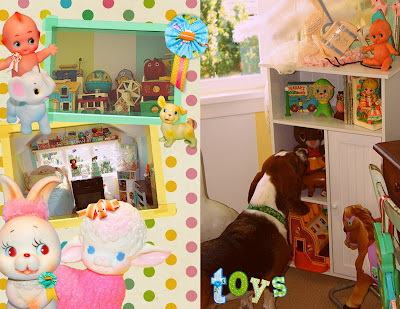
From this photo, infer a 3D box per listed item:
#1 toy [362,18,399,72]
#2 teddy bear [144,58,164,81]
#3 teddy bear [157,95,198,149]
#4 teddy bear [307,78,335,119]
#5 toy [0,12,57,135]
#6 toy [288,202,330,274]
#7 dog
[{"bbox_3d":[1.070,-0.665,1.838,0.185,0.269,0.168,2,7,36],"label":"toy"},{"bbox_3d":[-0.189,-0.358,1.290,0.097,0.100,0.094,-5,18,-12],"label":"teddy bear"},{"bbox_3d":[-0.112,-0.126,1.279,0.212,0.266,0.134,2,14,-9],"label":"teddy bear"},{"bbox_3d":[0.918,-0.427,2.295,0.173,0.284,0.162,2,24,27],"label":"teddy bear"},{"bbox_3d":[-0.666,-0.304,1.165,0.221,0.458,0.124,-2,6,-1],"label":"toy"},{"bbox_3d":[0.787,0.615,2.223,0.283,0.373,0.548,5,21,22],"label":"toy"},{"bbox_3d":[0.329,0.403,1.781,0.372,0.790,0.886,3,7,39],"label":"dog"}]
